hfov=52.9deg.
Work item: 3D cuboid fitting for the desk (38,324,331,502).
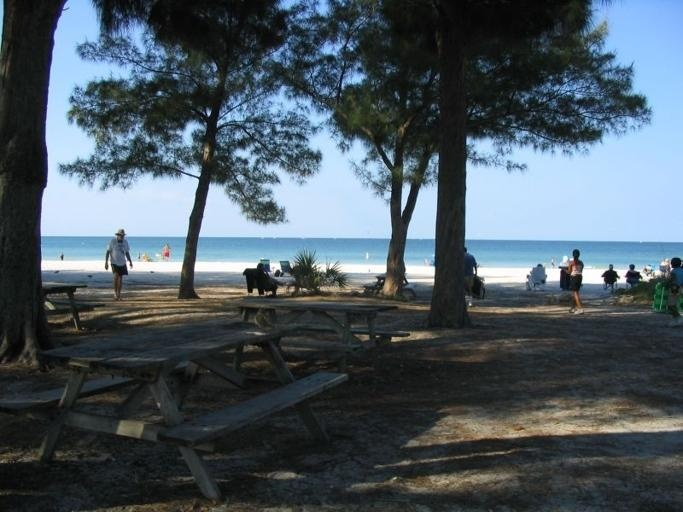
[{"bbox_3d":[-1.586,1.291,6.759,1.650,1.090,2.025,0,3,25],"label":"desk"}]

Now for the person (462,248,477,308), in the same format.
[{"bbox_3d":[4.138,0.768,21.622,0.409,1.511,2.175,3,-4,16],"label":"person"}]

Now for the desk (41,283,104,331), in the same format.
[{"bbox_3d":[-4.933,0.875,12.534,0.846,0.867,1.692,-3,7,-21],"label":"desk"}]

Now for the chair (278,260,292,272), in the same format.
[{"bbox_3d":[-2.023,0.416,25.660,0.518,0.437,0.584,4,-1,4],"label":"chair"}]

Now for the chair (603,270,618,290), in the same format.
[{"bbox_3d":[10.560,0.943,26.975,0.609,0.918,0.458,3,8,27],"label":"chair"}]

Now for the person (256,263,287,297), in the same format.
[{"bbox_3d":[-2.208,0.700,21.341,0.538,0.847,1.338,2,10,4],"label":"person"}]

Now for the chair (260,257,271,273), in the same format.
[{"bbox_3d":[-3.072,0.349,27.767,0.310,0.402,0.713,5,-28,3],"label":"chair"}]

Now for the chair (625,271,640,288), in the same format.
[{"bbox_3d":[11.020,0.889,26.014,0.482,0.804,0.629,2,15,24],"label":"chair"}]
